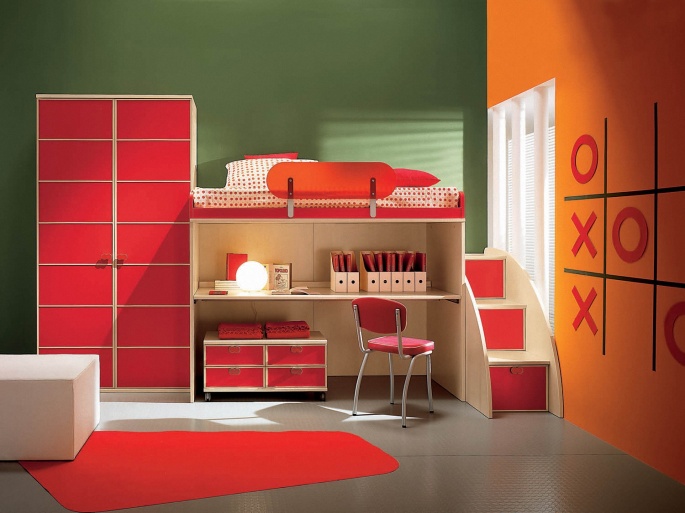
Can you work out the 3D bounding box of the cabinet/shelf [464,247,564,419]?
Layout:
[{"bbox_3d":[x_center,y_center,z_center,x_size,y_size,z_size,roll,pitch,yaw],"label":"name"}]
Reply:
[{"bbox_3d":[1.362,0.633,5.670,0.555,1.406,1.786,1,-2,-6],"label":"cabinet/shelf"}]

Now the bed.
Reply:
[{"bbox_3d":[-0.036,-0.713,6.044,2.036,0.467,2.167,-2,12,-10],"label":"bed"}]

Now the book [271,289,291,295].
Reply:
[{"bbox_3d":[-0.573,0.322,5.609,0.178,0.038,0.328,0,9,-7],"label":"book"}]

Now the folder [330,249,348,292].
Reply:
[{"bbox_3d":[-0.027,0.139,5.710,0.091,0.274,0.278,-5,44,-5],"label":"folder"}]

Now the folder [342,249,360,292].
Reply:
[{"bbox_3d":[0.083,0.146,5.686,0.121,0.376,0.365,-1,1,-2],"label":"folder"}]

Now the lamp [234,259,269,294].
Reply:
[{"bbox_3d":[-0.844,0.187,5.659,0.305,0.298,0.319,-1,8,-9],"label":"lamp"}]

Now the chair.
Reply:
[{"bbox_3d":[0.446,0.821,4.969,0.615,1.033,0.613,-2,3,-29],"label":"chair"}]

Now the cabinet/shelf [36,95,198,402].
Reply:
[{"bbox_3d":[-2.038,-0.121,5.385,1.351,2.634,0.452,1,8,2],"label":"cabinet/shelf"}]

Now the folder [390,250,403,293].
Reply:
[{"bbox_3d":[0.515,0.150,5.644,0.105,0.344,0.340,0,-2,0],"label":"folder"}]

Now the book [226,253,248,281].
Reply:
[{"bbox_3d":[-1.003,0.099,5.728,0.224,0.344,0.113,1,-5,-17],"label":"book"}]

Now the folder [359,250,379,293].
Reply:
[{"bbox_3d":[0.260,0.153,5.667,0.109,0.355,0.347,0,-3,-4],"label":"folder"}]

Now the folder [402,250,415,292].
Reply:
[{"bbox_3d":[0.632,0.150,5.668,0.116,0.366,0.347,1,-1,1],"label":"folder"}]
